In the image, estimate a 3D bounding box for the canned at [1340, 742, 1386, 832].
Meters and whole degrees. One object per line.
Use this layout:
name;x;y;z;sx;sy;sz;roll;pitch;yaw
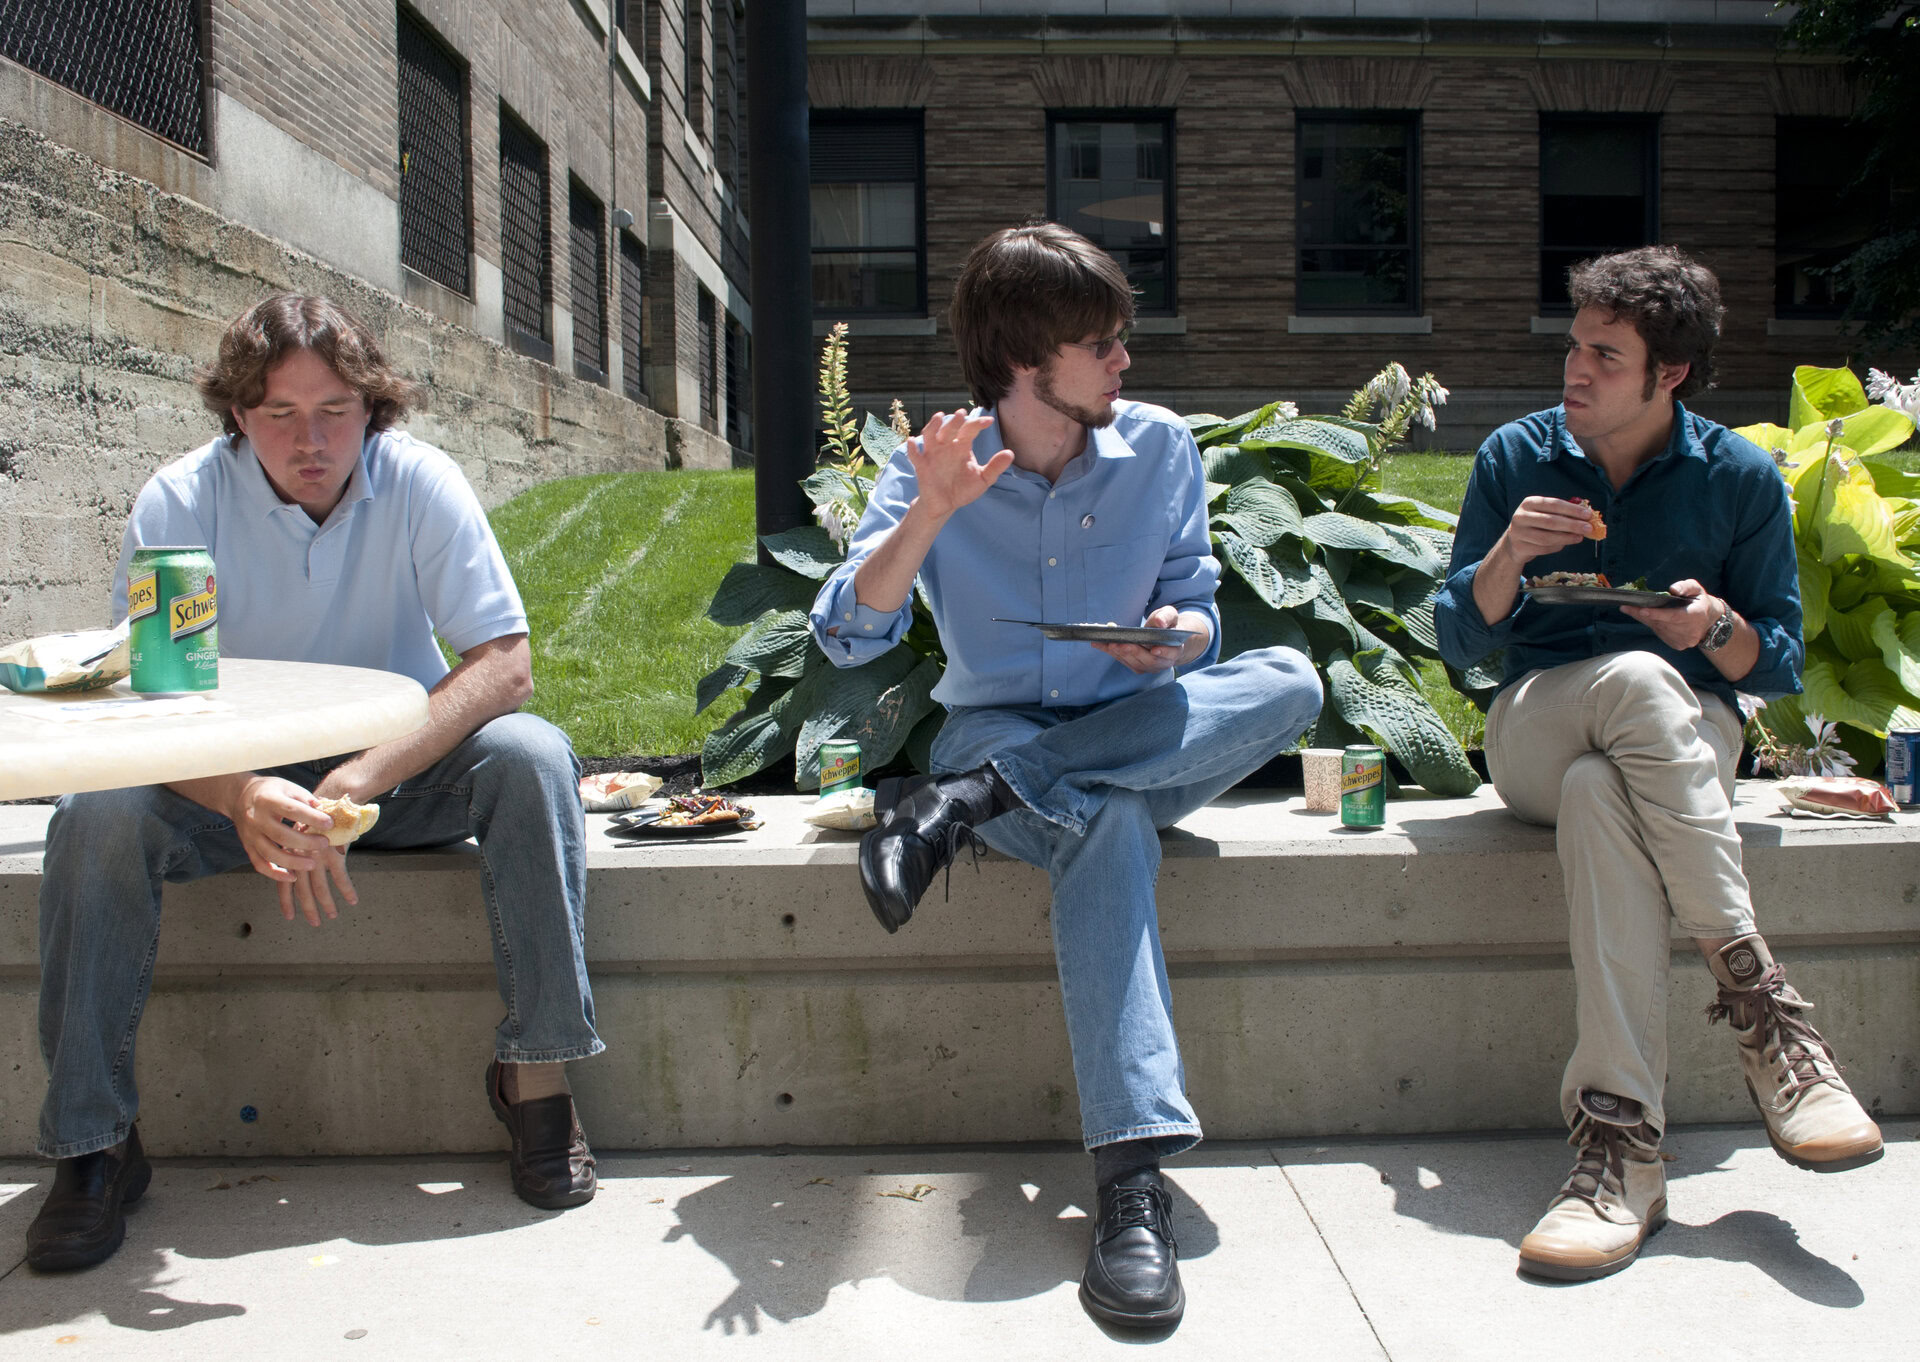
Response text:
canned;1.093;0.292;5.236;0.123;0.220;0.200;-1;4;7

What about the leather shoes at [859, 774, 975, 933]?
leather shoes;-0.113;0.405;4.727;0.242;0.171;0.507;-20;27;20

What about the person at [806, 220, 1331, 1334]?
person;0.249;0.146;4.905;1.047;2.579;0.985;2;6;31

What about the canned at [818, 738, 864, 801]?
canned;-0.340;0.254;5.463;0.150;0.155;0.146;-1;4;-10

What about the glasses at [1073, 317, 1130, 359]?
glasses;0.383;-0.843;4.836;0.093;0.094;0.185;2;5;32

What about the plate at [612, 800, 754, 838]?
plate;-0.760;0.374;5.238;0.408;0.100;0.189;-1;4;8

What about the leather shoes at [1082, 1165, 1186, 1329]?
leather shoes;0.396;1.312;4.466;0.233;0.328;0.227;-1;5;5

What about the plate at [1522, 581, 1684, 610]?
plate;1.667;-0.224;4.987;0.395;0.100;0.426;0;4;15

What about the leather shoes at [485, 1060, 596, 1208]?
leather shoes;-1.071;1.137;4.864;0.288;0.348;0.174;-1;5;1

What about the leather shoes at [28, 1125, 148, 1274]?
leather shoes;-2.110;1.263;4.667;0.302;0.270;0.183;-4;6;-37
